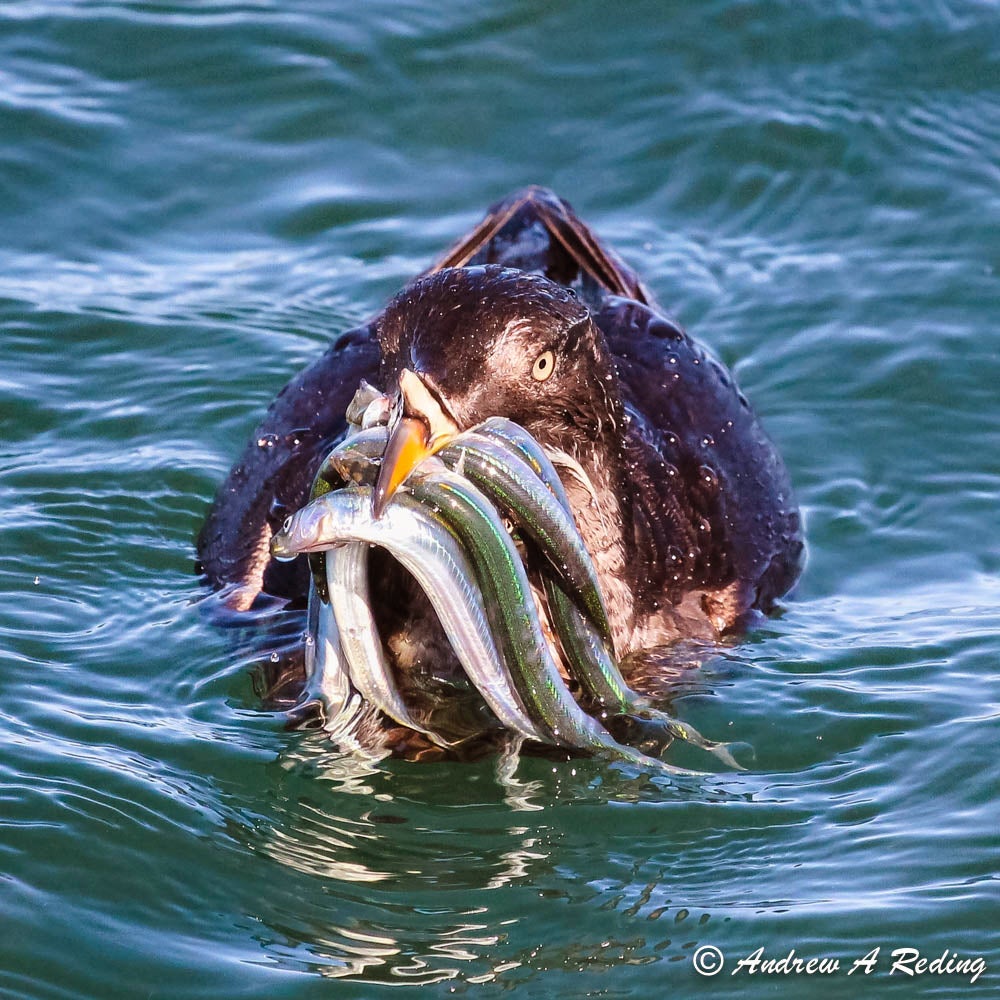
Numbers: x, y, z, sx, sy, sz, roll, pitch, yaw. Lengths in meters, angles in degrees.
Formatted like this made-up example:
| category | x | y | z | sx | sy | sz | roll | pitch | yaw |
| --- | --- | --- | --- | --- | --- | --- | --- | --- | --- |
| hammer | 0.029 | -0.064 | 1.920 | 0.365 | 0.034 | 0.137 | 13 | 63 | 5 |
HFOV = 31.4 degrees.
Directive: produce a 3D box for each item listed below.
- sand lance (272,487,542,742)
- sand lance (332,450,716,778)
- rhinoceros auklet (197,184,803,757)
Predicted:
| category | x | y | z | sx | sy | sz | roll | pitch | yaw |
| --- | --- | --- | --- | --- | --- | --- | --- | --- | --- |
| sand lance | -0.173 | 0.285 | 4.961 | 0.878 | 0.642 | 0.303 | 34 | 73 | 4 |
| sand lance | 0.070 | 0.354 | 5.107 | 0.900 | 0.805 | 0.307 | 55 | 49 | -20 |
| rhinoceros auklet | -0.002 | -0.057 | 6.182 | 1.558 | 1.909 | 2.508 | 20 | 28 | 14 |
